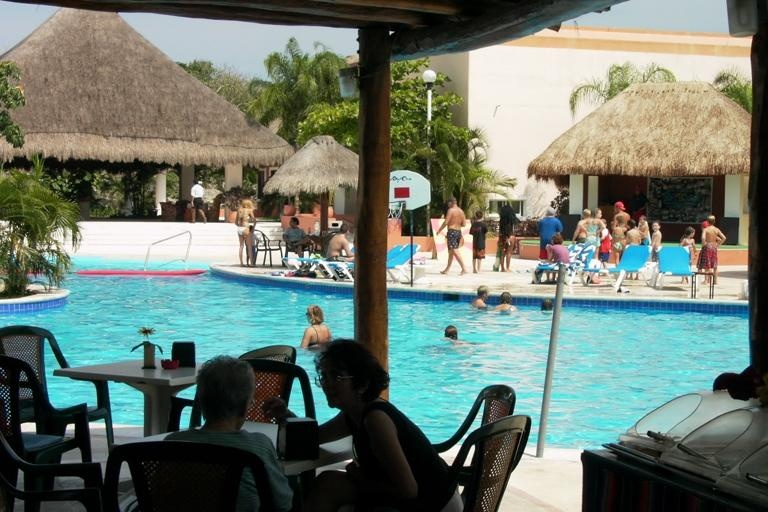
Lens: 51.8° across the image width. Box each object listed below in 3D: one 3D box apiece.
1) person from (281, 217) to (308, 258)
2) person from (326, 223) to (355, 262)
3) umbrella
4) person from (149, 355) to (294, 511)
[{"bbox_3d":[-2.209,-0.387,20.317,0.787,1.223,0.614,-7,-6,37],"label":"person"},{"bbox_3d":[-0.921,-0.276,17.616,0.587,0.880,0.793,2,12,-33],"label":"person"},{"bbox_3d":[-1.852,-2.273,25.520,3.670,3.177,3.633,-8,13,-34],"label":"umbrella"},{"bbox_3d":[-0.823,0.930,4.611,0.683,1.066,0.809,5,7,11],"label":"person"}]
